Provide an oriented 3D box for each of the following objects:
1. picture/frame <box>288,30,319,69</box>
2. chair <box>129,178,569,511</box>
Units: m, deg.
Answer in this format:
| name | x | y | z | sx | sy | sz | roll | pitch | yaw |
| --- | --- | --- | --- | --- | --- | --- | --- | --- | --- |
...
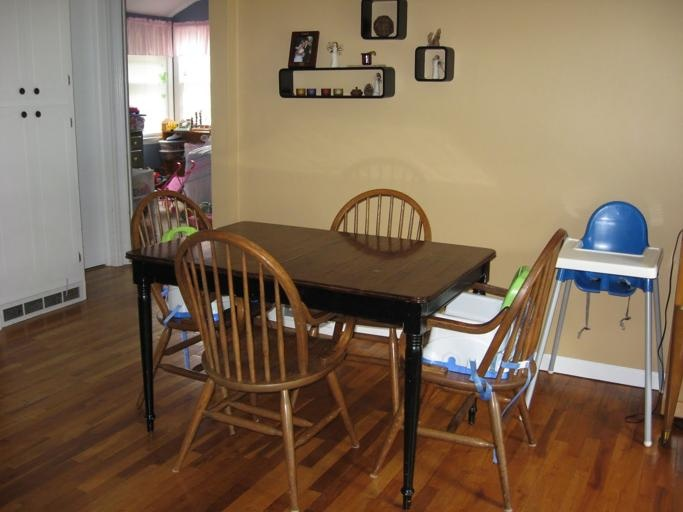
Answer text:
| name | x | y | z | sx | sy | sz | roll | pitch | yaw |
| --- | --- | --- | --- | --- | --- | --- | --- | --- | --- |
| picture/frame | -0.259 | -1.439 | 3.755 | 0.279 | 0.333 | 0.054 | 2 | -1 | 20 |
| chair | -0.030 | 0.400 | 2.558 | 1.855 | 1.205 | 1.068 | 8 | 18 | 23 |
